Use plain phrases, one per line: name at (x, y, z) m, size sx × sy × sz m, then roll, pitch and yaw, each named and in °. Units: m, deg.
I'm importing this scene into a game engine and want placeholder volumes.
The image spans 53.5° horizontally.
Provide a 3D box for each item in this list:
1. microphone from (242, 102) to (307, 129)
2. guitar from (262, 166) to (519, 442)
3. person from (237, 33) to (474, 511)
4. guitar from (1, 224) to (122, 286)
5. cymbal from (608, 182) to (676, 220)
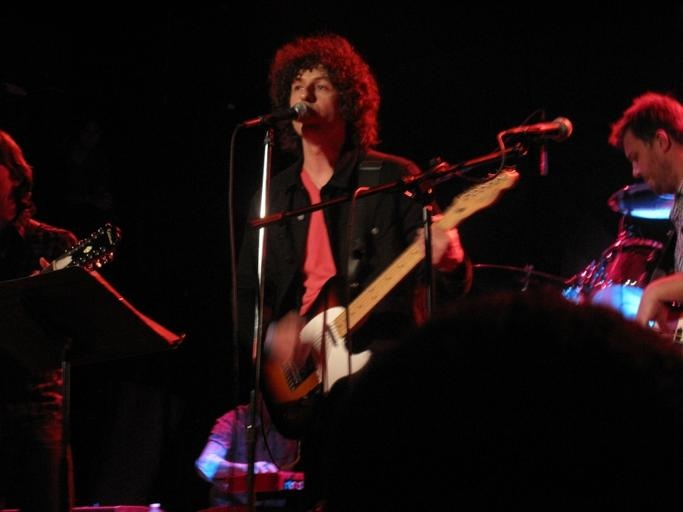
microphone at (-0.288, -0.633, 3.066) m, size 0.217 × 0.113 × 0.332 m, roll 8°, pitch 2°, yaw 19°
guitar at (0.140, 0.230, 2.987) m, size 0.916 × 1.116 × 0.306 m, roll 8°, pitch 2°, yaw 33°
person at (0.020, -0.054, 3.297) m, size 0.999 × 2.107 × 0.268 m, roll -3°, pitch 0°, yaw -21°
guitar at (-1.261, -0.036, 3.316) m, size 0.225 × 0.214 × 0.387 m, roll 6°, pitch 3°, yaw -43°
cymbal at (1.381, -0.246, 3.131) m, size 0.194 × 0.047 × 0.193 m, roll 6°, pitch -28°, yaw -13°
